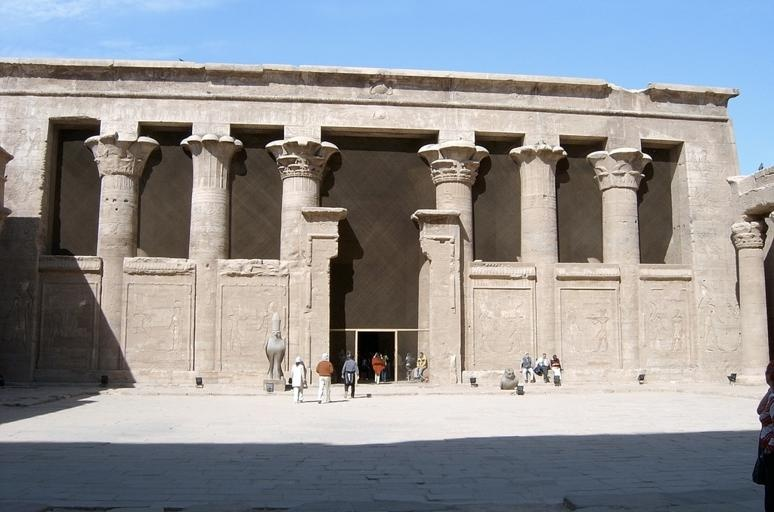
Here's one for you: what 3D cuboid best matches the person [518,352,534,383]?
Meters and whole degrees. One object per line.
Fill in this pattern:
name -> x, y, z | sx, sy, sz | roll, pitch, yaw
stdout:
person -> 6.281, 5.105, 43.768 | 0.577, 1.282, 0.859 | -2, -7, 10

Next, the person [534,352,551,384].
person -> 7.012, 5.108, 44.121 | 0.715, 1.294, 0.922 | -1, -7, 9
